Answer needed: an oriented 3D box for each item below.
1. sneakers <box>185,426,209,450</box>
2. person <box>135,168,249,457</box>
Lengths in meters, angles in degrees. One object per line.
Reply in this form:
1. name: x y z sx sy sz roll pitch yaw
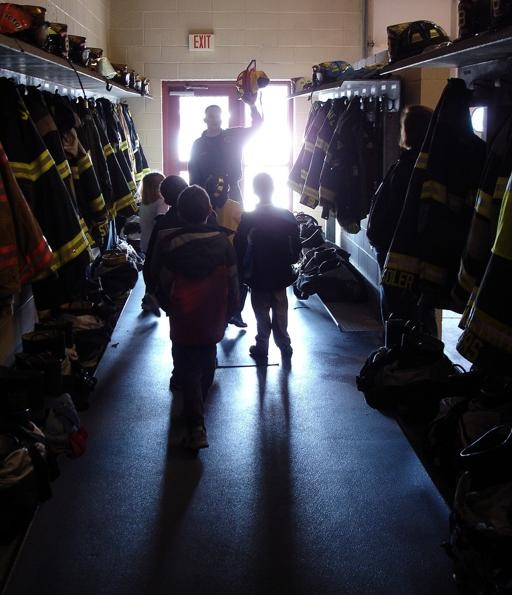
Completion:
1. sneakers: -0.277 0.646 2.133 0.057 0.116 0.158 -1 9 -18
2. person: -0.312 0.083 2.214 0.406 1.209 0.457 -4 8 -25
